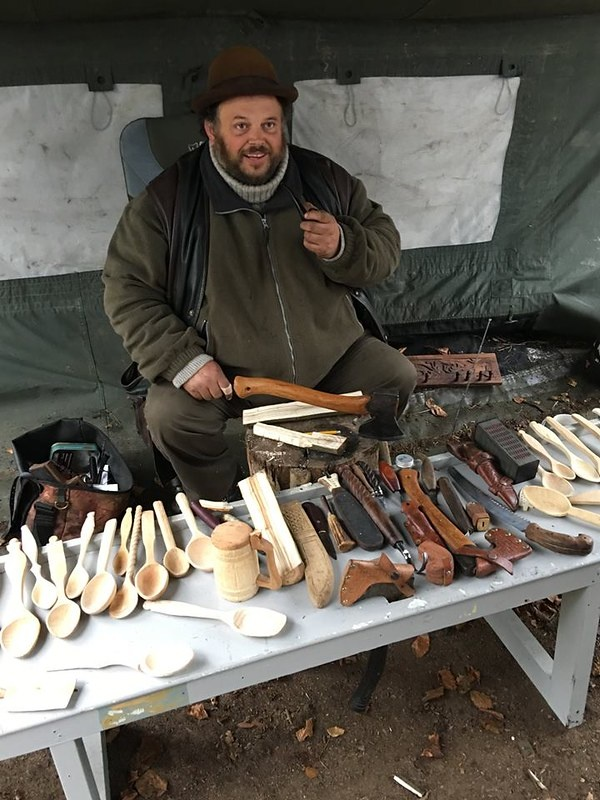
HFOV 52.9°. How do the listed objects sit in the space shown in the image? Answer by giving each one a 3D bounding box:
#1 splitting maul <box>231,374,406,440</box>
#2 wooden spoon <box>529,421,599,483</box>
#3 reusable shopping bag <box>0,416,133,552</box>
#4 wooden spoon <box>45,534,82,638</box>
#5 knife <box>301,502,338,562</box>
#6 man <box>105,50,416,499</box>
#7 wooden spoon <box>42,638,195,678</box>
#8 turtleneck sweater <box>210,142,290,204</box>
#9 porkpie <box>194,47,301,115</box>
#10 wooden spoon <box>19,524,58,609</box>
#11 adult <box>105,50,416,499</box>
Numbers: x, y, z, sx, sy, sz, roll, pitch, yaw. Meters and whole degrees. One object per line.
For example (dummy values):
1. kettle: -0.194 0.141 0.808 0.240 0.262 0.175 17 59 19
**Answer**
1. splitting maul: 0.070 0.023 2.465 0.844 0.122 0.267 3 44 5
2. wooden spoon: 0.989 0.184 2.208 0.075 0.036 0.262 -11 28 -6
3. reusable shopping bag: -1.088 0.391 2.832 0.815 0.377 0.522 -12 33 -19
4. wooden spoon: -0.660 0.519 1.696 0.082 0.039 0.327 -22 26 -6
5. knife: 0.057 0.399 1.866 0.050 0.029 0.207 -6 27 -7
6. man: -0.144 -0.520 2.894 1.507 1.933 1.000 -13 32 -20
7. wooden spoon: -0.409 0.627 1.459 0.460 0.065 0.114 -5 22 12
8. turtleneck sweater: -0.215 -1.006 2.675 0.350 0.260 0.175 -6 21 -6
9. porkpie: -0.221 -1.305 2.498 0.362 0.131 0.292 -14 7 -7
10. wooden spoon: -0.757 0.499 1.754 0.085 0.048 0.332 -15 35 -19
11. adult: -0.143 -0.516 2.892 1.483 1.842 0.933 -14 32 -20
